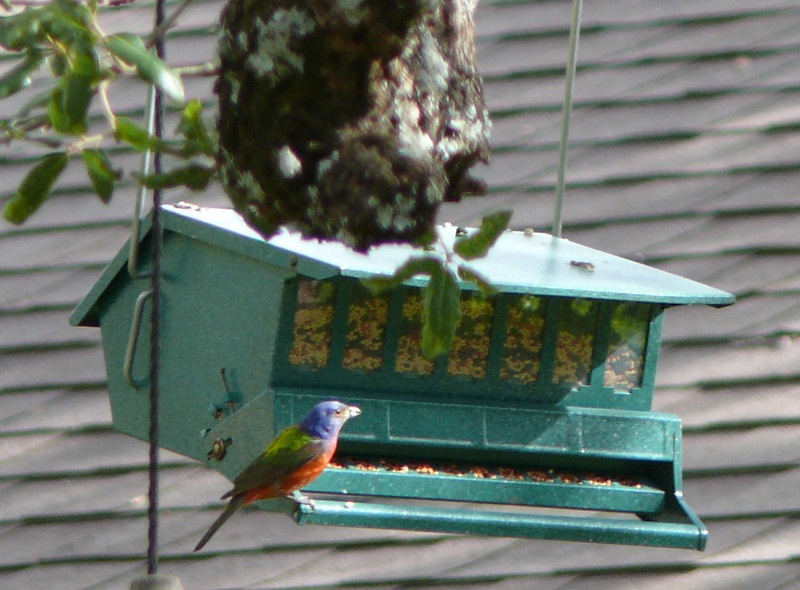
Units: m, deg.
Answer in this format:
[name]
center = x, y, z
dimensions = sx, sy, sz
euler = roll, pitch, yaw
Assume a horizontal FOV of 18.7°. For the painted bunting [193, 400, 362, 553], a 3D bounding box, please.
[painted bunting]
center = -0.532, 0.678, 10.018
dimensions = 0.771, 0.235, 0.432
euler = -10, 106, -22
